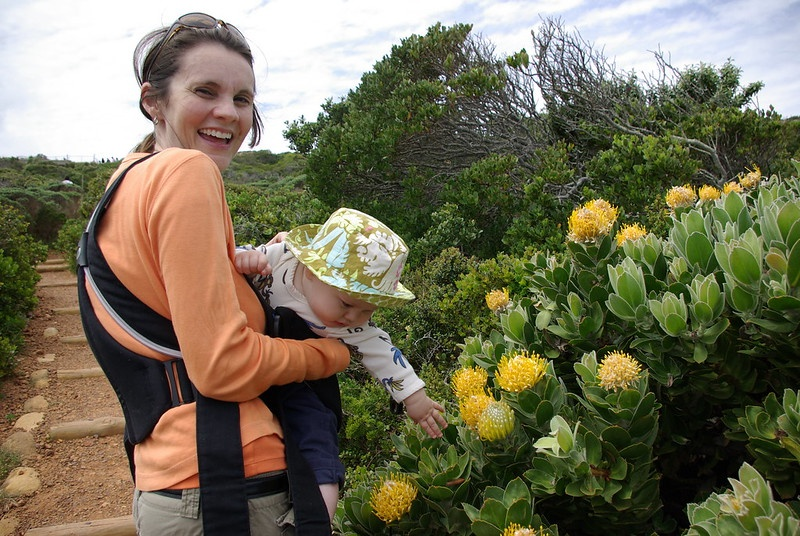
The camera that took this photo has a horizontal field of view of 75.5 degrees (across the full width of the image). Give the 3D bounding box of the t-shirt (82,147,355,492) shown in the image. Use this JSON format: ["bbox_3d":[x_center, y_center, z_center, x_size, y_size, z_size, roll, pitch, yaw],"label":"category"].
[{"bbox_3d":[-0.898,0.236,2.374,1.007,1.287,0.989,-9,-6,39],"label":"t-shirt"}]

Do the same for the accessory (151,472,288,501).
[{"bbox_3d":[-0.595,0.840,2.026,0.210,0.050,0.197,-10,-10,19],"label":"accessory"}]

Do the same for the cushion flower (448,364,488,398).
[{"bbox_3d":[0.332,0.551,2.591,0.164,0.113,0.167,-10,-4,31],"label":"cushion flower"}]

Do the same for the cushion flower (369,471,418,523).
[{"bbox_3d":[-0.024,1.046,2.391,0.222,0.213,0.204,-7,7,11],"label":"cushion flower"}]

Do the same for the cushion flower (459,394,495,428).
[{"bbox_3d":[0.347,0.631,2.407,0.162,0.154,0.162,-13,-8,20],"label":"cushion flower"}]

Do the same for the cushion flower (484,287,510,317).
[{"bbox_3d":[0.603,0.201,3.153,0.124,0.142,0.227,-8,7,6],"label":"cushion flower"}]

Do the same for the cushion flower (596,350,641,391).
[{"bbox_3d":[0.932,0.415,2.185,0.170,0.097,0.171,-10,-2,13],"label":"cushion flower"}]

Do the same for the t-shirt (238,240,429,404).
[{"bbox_3d":[-0.229,0.117,2.534,0.608,0.898,0.285,-16,23,38],"label":"t-shirt"}]

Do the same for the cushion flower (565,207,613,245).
[{"bbox_3d":[0.948,-0.228,2.589,0.208,0.140,0.196,-1,-1,-26],"label":"cushion flower"}]

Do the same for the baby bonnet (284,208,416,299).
[{"bbox_3d":[-0.223,-0.069,2.392,0.508,0.188,0.477,33,16,-4],"label":"baby bonnet"}]
